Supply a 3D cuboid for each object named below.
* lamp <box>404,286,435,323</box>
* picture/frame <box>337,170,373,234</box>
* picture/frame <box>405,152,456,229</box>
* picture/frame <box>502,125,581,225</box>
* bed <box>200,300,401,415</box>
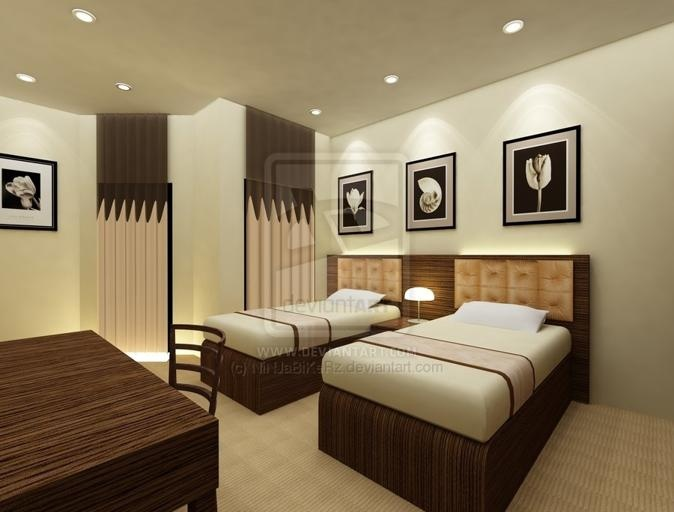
[{"bbox_3d":[0.875,0.513,4.808,0.317,0.411,0.333,-2,-5,37],"label":"lamp"},{"bbox_3d":[0.248,-0.687,5.733,0.711,1.127,0.037,-2,-4,41],"label":"picture/frame"},{"bbox_3d":[1.063,-0.734,5.009,0.045,1.153,0.757,2,-4,-43],"label":"picture/frame"},{"bbox_3d":[1.974,-0.774,4.267,0.835,1.293,0.075,-2,-3,34],"label":"picture/frame"},{"bbox_3d":[-0.366,0.859,4.382,0.796,0.566,1.415,-1,-1,42],"label":"bed"}]
